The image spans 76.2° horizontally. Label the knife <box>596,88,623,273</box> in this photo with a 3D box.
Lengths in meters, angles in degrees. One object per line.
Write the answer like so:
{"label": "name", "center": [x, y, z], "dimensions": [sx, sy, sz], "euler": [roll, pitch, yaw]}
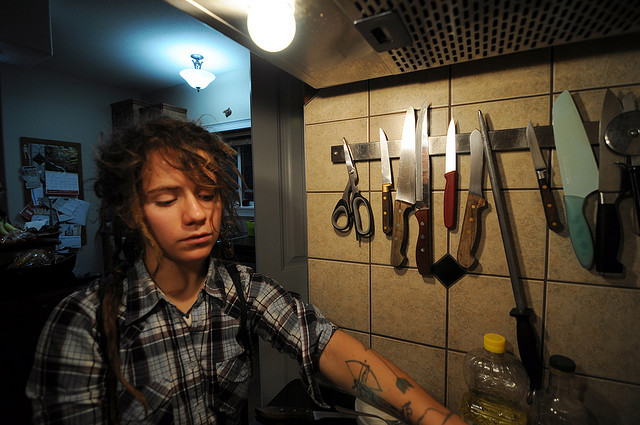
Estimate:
{"label": "knife", "center": [1.081, -0.115, 1.527], "dimensions": [0.096, 0.650, 0.033], "euler": [3, 5, 27]}

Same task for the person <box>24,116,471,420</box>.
{"label": "person", "center": [-0.381, 0.203, 1.467], "dimensions": [1.173, 1.114, 0.325], "euler": [-3, 4, -3]}

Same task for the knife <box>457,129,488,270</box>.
{"label": "knife", "center": [0.616, -0.055, 1.653], "dimensions": [0.094, 0.551, 0.060], "euler": [8, 9, 38]}

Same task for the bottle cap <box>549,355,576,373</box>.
{"label": "bottle cap", "center": [0.893, 0.555, 1.509], "dimensions": [0.080, 0.047, 0.066], "euler": [0, 5, 29]}

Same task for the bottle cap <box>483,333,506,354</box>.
{"label": "bottle cap", "center": [0.654, 0.488, 1.531], "dimensions": [0.070, 0.040, 0.070], "euler": [0, 2, 3]}

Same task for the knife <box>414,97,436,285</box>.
{"label": "knife", "center": [0.452, -0.086, 1.712], "dimensions": [0.088, 0.759, 0.082], "euler": [2, 6, 34]}

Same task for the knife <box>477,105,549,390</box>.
{"label": "knife", "center": [0.777, 0.116, 1.621], "dimensions": [0.122, 1.136, 0.130], "euler": [-8, -10, -13]}

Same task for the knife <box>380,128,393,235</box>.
{"label": "knife", "center": [0.296, -0.133, 1.747], "dimensions": [0.049, 0.444, 0.046], "euler": [1, -1, 42]}
